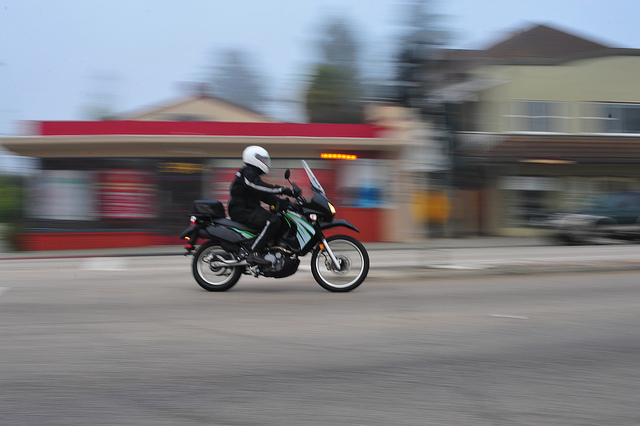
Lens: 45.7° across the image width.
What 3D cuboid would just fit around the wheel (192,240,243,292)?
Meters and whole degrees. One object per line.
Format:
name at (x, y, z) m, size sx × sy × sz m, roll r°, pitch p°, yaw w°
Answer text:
wheel at (-1.820, 0.922, 13.455) m, size 1.686 × 0.918 × 0.480 m, roll 0°, pitch -2°, yaw 2°
